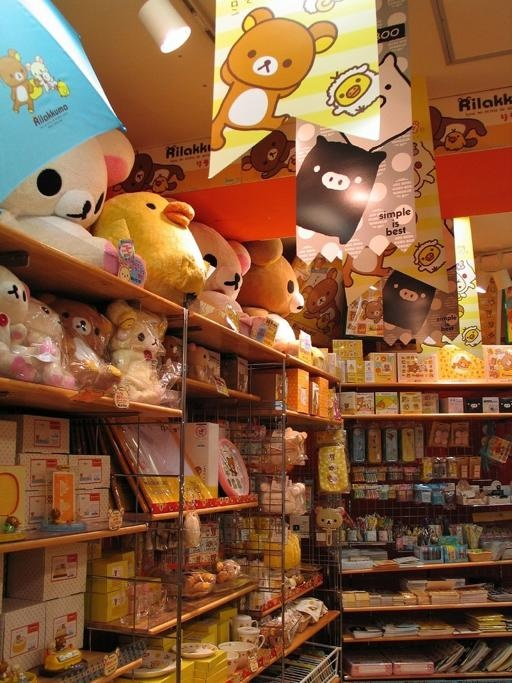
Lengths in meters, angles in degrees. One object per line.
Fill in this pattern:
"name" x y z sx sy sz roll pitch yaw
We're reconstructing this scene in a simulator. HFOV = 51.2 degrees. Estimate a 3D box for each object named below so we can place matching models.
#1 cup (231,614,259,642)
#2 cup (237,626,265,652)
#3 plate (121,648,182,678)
"cup" -0.057 1.488 2.795 0.089 0.132 0.148 -10 -16 40
"cup" -0.028 1.513 2.736 0.141 0.119 0.084 12 -17 -37
"plate" -0.365 1.172 1.945 0.169 0.027 0.132 -5 -9 25
